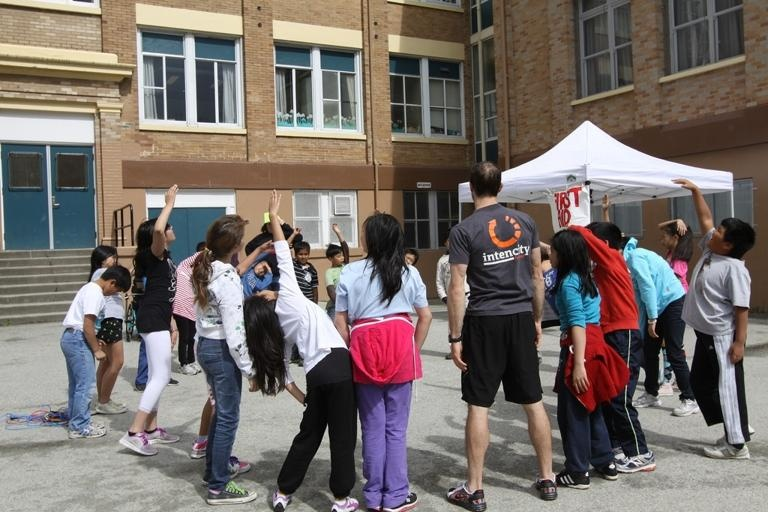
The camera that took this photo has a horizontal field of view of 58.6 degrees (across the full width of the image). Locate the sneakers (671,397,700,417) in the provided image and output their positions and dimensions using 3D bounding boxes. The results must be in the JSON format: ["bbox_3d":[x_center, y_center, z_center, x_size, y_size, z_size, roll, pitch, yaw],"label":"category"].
[{"bbox_3d":[4.112,2.067,9.387,0.528,0.262,0.195,1,-5,-24],"label":"sneakers"}]

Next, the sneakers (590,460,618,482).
[{"bbox_3d":[2.515,2.443,7.834,0.142,0.157,0.363,-2,4,-14],"label":"sneakers"}]

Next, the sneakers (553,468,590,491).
[{"bbox_3d":[2.105,2.499,7.727,0.439,0.209,0.172,3,4,28],"label":"sneakers"}]

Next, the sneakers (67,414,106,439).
[{"bbox_3d":[-3.922,2.269,9.068,0.436,0.205,0.259,-4,1,-13],"label":"sneakers"}]

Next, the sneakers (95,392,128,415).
[{"bbox_3d":[-3.914,2.179,9.942,0.561,0.262,0.210,1,0,-8],"label":"sneakers"}]

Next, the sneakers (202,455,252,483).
[{"bbox_3d":[-1.799,2.480,7.994,0.205,0.271,0.624,2,2,28],"label":"sneakers"}]

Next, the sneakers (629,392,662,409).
[{"bbox_3d":[3.707,2.041,9.630,0.443,0.216,0.188,3,-6,-6],"label":"sneakers"}]

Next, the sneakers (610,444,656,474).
[{"bbox_3d":[2.885,2.360,7.903,0.527,0.251,0.221,5,-6,-4],"label":"sneakers"}]

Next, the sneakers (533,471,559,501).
[{"bbox_3d":[1.775,2.538,7.461,0.136,0.139,0.322,-1,5,4],"label":"sneakers"}]

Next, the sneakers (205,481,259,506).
[{"bbox_3d":[-1.669,2.631,7.642,0.589,0.272,0.222,0,-4,-8],"label":"sneakers"}]
